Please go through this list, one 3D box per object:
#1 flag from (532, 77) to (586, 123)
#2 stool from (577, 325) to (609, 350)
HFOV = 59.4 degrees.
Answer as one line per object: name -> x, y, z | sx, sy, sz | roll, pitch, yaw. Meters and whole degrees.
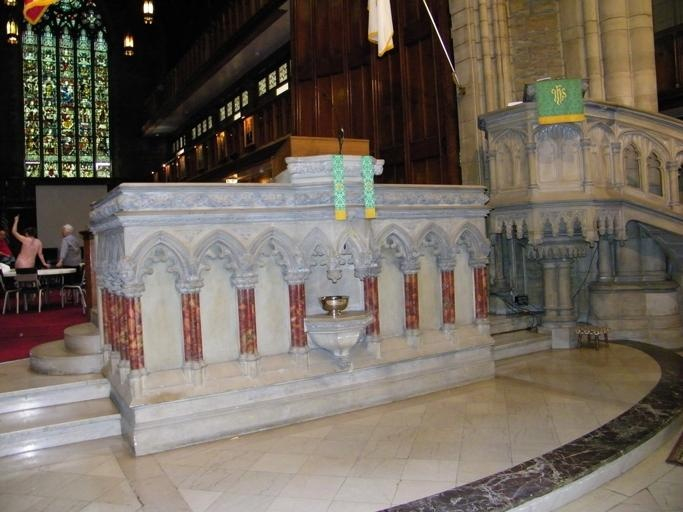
flag -> 3.086, -2.184, 8.535 | 0.749, 0.624, 0.078 | -7, 6, -14
stool -> 3.801, 1.233, 9.097 | 0.372, 0.222, 0.465 | 4, 5, 40
